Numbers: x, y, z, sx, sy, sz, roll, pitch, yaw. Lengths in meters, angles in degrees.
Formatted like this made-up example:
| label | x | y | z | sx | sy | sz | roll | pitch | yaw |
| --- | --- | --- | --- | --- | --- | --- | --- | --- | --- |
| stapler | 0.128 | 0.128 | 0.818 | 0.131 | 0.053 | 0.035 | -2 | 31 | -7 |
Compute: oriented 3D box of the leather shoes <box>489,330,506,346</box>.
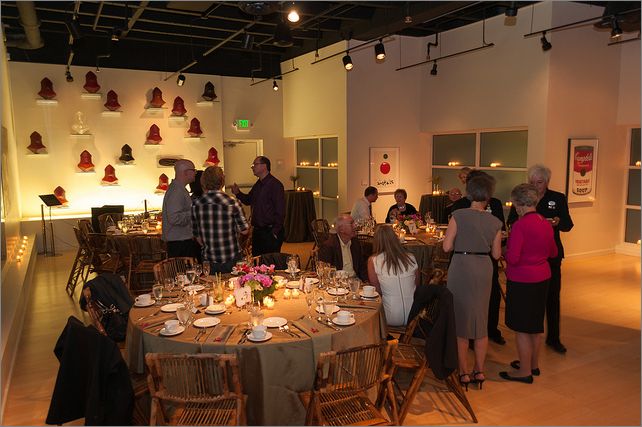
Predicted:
| label | x | y | z | sx | sy | sz | roll | pitch | yaw |
| --- | --- | --- | --- | --- | --- | --- | --- | --- | --- |
| leather shoes | 2.400 | 1.690 | 6.239 | 0.114 | 0.136 | 0.299 | -2 | 2 | -17 |

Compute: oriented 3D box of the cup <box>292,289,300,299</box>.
| label | x | y | z | sx | sy | sz | roll | pitch | yaw |
| --- | --- | --- | --- | --- | --- | --- | --- | --- | --- |
| cup | -0.282 | 0.907 | 5.103 | 0.082 | 0.104 | 0.087 | 0 | -7 | 0 |

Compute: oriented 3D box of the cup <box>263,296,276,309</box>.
| label | x | y | z | sx | sy | sz | roll | pitch | yaw |
| --- | --- | --- | --- | --- | --- | --- | --- | --- | --- |
| cup | -0.568 | 0.955 | 4.912 | 0.111 | 0.092 | 0.117 | 1 | -1 | 0 |

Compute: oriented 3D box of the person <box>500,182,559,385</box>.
| label | x | y | z | sx | sy | sz | roll | pitch | yaw |
| --- | --- | --- | --- | --- | --- | --- | --- | --- | --- |
| person | 2.410 | 0.831 | 5.345 | 0.582 | 2.374 | 0.350 | -5 | 7 | -15 |

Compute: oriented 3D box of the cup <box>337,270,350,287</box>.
| label | x | y | z | sx | sy | sz | roll | pitch | yaw |
| --- | --- | --- | --- | --- | --- | --- | --- | --- | --- |
| cup | 0.245 | 0.743 | 5.233 | 0.156 | 0.194 | 0.165 | -1 | 1 | 0 |

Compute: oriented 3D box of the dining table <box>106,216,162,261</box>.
| label | x | y | z | sx | sy | sz | roll | pitch | yaw |
| --- | --- | --- | --- | --- | --- | --- | --- | --- | --- |
| dining table | -3.133 | 0.452 | 7.678 | 0.593 | 1.097 | 0.754 | 0 | 20 | -4 |

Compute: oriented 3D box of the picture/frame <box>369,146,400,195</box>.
| label | x | y | z | sx | sy | sz | roll | pitch | yaw |
| --- | --- | --- | --- | --- | --- | --- | --- | --- | --- |
| picture/frame | 1.501 | -1.040 | 10.855 | 0.832 | 1.129 | 0.159 | -7 | 7 | -31 |

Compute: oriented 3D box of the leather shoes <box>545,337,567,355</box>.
| label | x | y | z | sx | sy | sz | roll | pitch | yaw |
| --- | --- | --- | --- | --- | --- | --- | --- | --- | --- |
| leather shoes | 3.112 | 1.765 | 6.066 | 0.097 | 0.121 | 0.274 | -1 | 0 | -14 |

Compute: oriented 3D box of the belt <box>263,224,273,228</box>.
| label | x | y | z | sx | sy | sz | roll | pitch | yaw |
| --- | --- | --- | --- | --- | --- | --- | --- | --- | --- |
| belt | -0.786 | 0.184 | 6.891 | 0.101 | 0.057 | 0.033 | -5 | 7 | -17 |

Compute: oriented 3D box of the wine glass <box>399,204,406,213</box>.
| label | x | y | z | sx | sy | sz | roll | pitch | yaw |
| --- | --- | --- | --- | --- | --- | --- | --- | --- | --- |
| wine glass | 1.516 | -0.117 | 8.570 | 0.131 | 0.152 | 0.105 | -3 | 6 | 6 |

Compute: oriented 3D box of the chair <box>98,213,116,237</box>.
| label | x | y | z | sx | sy | sz | roll | pitch | yaw |
| --- | --- | --- | --- | --- | --- | --- | --- | --- | --- |
| chair | -4.173 | 0.214 | 8.901 | 0.379 | 0.541 | 0.364 | -3 | 4 | -40 |

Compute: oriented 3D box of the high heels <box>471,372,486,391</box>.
| label | x | y | z | sx | sy | sz | roll | pitch | yaw |
| --- | --- | --- | --- | --- | --- | --- | --- | --- | --- |
| high heels | 1.826 | 1.949 | 5.345 | 0.102 | 0.128 | 0.288 | -1 | 5 | 1 |

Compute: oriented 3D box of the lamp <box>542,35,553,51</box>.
| label | x | y | z | sx | sy | sz | roll | pitch | yaw |
| --- | --- | --- | --- | --- | --- | --- | --- | --- | --- |
| lamp | 3.964 | -3.030 | 8.073 | 0.149 | 0.276 | 0.331 | 0 | 7 | 23 |

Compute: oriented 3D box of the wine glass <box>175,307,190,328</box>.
| label | x | y | z | sx | sy | sz | roll | pitch | yaw |
| --- | --- | --- | --- | --- | --- | --- | --- | --- | --- |
| wine glass | -1.381 | 1.028 | 4.566 | 0.152 | 0.191 | 0.161 | 3 | 5 | 17 |

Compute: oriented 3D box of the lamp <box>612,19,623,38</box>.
| label | x | y | z | sx | sy | sz | roll | pitch | yaw |
| --- | --- | --- | --- | --- | --- | --- | --- | --- | --- |
| lamp | 4.565 | -2.893 | 7.057 | 0.131 | 0.236 | 0.396 | 1 | 7 | 31 |

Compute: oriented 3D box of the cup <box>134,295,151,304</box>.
| label | x | y | z | sx | sy | sz | roll | pitch | yaw |
| --- | --- | --- | --- | --- | --- | --- | --- | --- | --- |
| cup | -1.945 | 0.934 | 5.008 | 0.097 | 0.077 | 0.152 | -2 | -7 | 4 |

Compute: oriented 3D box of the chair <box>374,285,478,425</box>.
| label | x | y | z | sx | sy | sz | roll | pitch | yaw |
| --- | --- | --- | --- | --- | --- | --- | --- | --- | --- |
| chair | 1.090 | 1.547 | 5.578 | 1.190 | 1.986 | 1.383 | 0 | -1 | 5 |

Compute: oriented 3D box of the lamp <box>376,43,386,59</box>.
| label | x | y | z | sx | sy | sz | roll | pitch | yaw |
| --- | --- | --- | --- | --- | --- | --- | --- | --- | --- |
| lamp | 1.087 | -3.061 | 8.528 | 0.157 | 0.325 | 0.378 | -2 | 6 | 6 |

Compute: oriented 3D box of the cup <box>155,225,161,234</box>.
| label | x | y | z | sx | sy | sz | roll | pitch | yaw |
| --- | --- | --- | --- | --- | --- | --- | --- | --- | --- |
| cup | -2.905 | 0.278 | 8.134 | 0.120 | 0.149 | 0.125 | 0 | 3 | 0 |

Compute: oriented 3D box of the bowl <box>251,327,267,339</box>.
| label | x | y | z | sx | sy | sz | roll | pitch | yaw |
| --- | --- | --- | --- | --- | --- | --- | --- | --- | --- |
| bowl | -0.590 | 1.125 | 4.322 | 0.090 | 0.088 | 0.122 | 0 | -7 | -8 |

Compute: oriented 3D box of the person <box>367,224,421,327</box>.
| label | x | y | z | sx | sy | sz | roll | pitch | yaw |
| --- | --- | --- | --- | --- | --- | --- | --- | --- | --- |
| person | 0.848 | 0.761 | 5.324 | 0.642 | 1.503 | 0.865 | -5 | 28 | 5 |

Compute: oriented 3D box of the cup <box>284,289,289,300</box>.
| label | x | y | z | sx | sy | sz | roll | pitch | yaw |
| --- | --- | --- | --- | --- | --- | --- | --- | --- | --- |
| cup | -0.392 | 0.908 | 5.114 | 0.065 | 0.119 | 0.071 | 0 | 4 | 0 |

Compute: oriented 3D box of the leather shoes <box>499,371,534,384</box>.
| label | x | y | z | sx | sy | sz | roll | pitch | yaw |
| --- | --- | --- | --- | --- | --- | --- | --- | --- | --- |
| leather shoes | 2.325 | 1.966 | 5.446 | 0.355 | 0.115 | 0.137 | 9 | -1 | 21 |

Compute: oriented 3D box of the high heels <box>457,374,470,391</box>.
| label | x | y | z | sx | sy | sz | roll | pitch | yaw |
| --- | --- | --- | --- | --- | --- | --- | --- | --- | --- |
| high heels | 1.608 | 1.924 | 5.207 | 0.074 | 0.232 | 0.095 | -12 | -16 | -2 |
